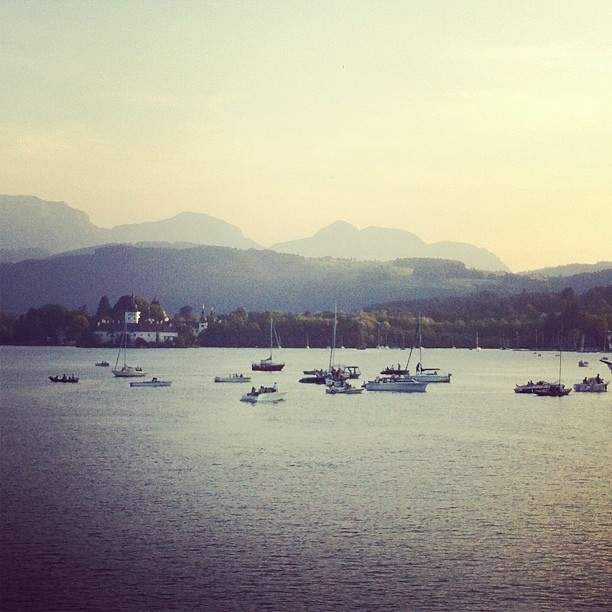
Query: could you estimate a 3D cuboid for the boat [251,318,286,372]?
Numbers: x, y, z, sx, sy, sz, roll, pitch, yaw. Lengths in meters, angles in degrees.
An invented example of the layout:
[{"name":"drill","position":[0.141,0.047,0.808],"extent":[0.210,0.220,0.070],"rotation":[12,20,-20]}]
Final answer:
[{"name":"boat","position":[-7.490,7.896,300.007],"extent":[8.743,13.564,5.502],"rotation":[-3,9,-15]}]
